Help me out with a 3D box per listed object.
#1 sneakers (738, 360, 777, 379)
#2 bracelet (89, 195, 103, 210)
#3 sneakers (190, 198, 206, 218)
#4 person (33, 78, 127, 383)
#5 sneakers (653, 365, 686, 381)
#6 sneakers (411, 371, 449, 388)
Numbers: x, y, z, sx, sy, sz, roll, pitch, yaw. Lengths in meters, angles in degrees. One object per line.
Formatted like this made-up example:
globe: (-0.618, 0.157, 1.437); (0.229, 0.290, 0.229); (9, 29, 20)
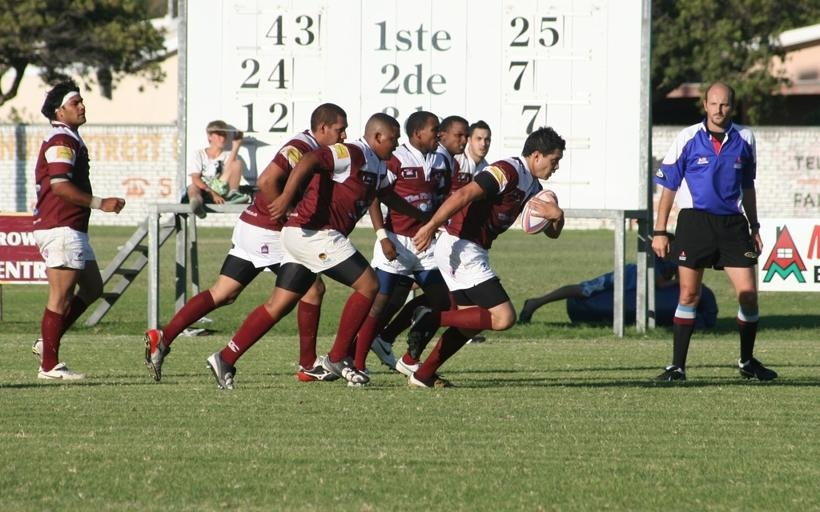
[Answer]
sneakers: (5.199, 1.705, 22.839); (0.490, 0.213, 0.260); (2, 4, 9)
bracelet: (-4.578, -0.752, 22.513); (0.161, 0.205, 0.175); (1, 12, 2)
sneakers: (-3.460, -0.779, 25.272); (0.166, 0.338, 0.135); (-10, 33, -9)
person: (-5.007, -0.365, 22.624); (0.972, 4.369, 0.685); (0, 3, -14)
sneakers: (3.869, 1.754, 22.656); (0.388, 0.165, 0.211); (0, -1, -4)
sneakers: (0.307, 1.839, 22.441); (0.636, 0.269, 0.212); (-1, 7, -8)
